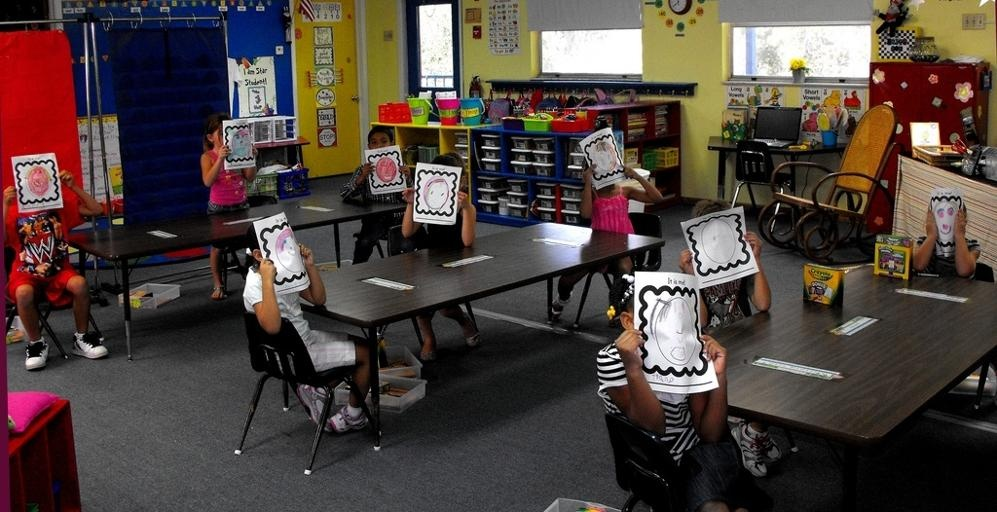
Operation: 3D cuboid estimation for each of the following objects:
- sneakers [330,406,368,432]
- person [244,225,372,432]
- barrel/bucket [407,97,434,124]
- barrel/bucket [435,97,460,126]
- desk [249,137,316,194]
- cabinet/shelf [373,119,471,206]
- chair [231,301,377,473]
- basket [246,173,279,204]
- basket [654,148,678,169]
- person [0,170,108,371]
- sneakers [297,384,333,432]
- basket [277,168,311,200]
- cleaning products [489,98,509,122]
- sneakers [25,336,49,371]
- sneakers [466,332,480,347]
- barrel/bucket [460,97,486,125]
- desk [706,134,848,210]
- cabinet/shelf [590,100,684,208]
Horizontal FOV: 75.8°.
[{"bbox_3d":[-1.217,1.331,5.122,0.327,0.198,0.175,1,12,-17],"label":"sneakers"},{"bbox_3d":[-1.461,0.624,4.988,0.884,1.730,0.690,-5,14,2],"label":"person"},{"bbox_3d":[-1.255,-2.315,10.167,0.322,0.398,0.370,-5,19,-7],"label":"barrel/bucket"},{"bbox_3d":[-0.808,-2.256,9.984,0.429,0.352,0.420,-1,6,0],"label":"barrel/bucket"},{"bbox_3d":[-3.425,-1.403,9.901,0.909,0.783,1.126,1,16,2],"label":"desk"},{"bbox_3d":[-0.911,-1.142,7.676,1.535,0.874,0.398,7,10,38],"label":"cabinet/shelf"},{"bbox_3d":[-1.502,0.989,5.097,0.853,1.126,0.965,6,6,37],"label":"chair"},{"bbox_3d":[-3.268,-0.945,8.828,0.453,0.314,0.708,4,12,15],"label":"basket"},{"bbox_3d":[2.591,-1.541,10.004,0.335,0.204,0.349,5,11,38],"label":"basket"},{"bbox_3d":[-4.304,0.099,6.201,0.813,1.724,0.945,-13,21,-29],"label":"person"},{"bbox_3d":[-1.447,1.144,4.999,0.185,0.450,0.206,-13,-12,-32],"label":"sneakers"},{"bbox_3d":[-3.267,-1.117,10.057,0.428,0.501,0.736,3,11,26],"label":"basket"},{"bbox_3d":[-0.019,-2.295,10.062,0.374,0.342,0.269,3,20,14],"label":"cleaning products"},{"bbox_3d":[-4.409,0.935,6.097,0.188,0.233,0.286,-13,22,-28],"label":"sneakers"},{"bbox_3d":[-0.262,0.841,6.324,0.110,0.124,0.143,5,-2,-40],"label":"sneakers"},{"bbox_3d":[-0.385,-2.206,9.789,0.426,0.353,0.386,0,5,5],"label":"barrel/bucket"},{"bbox_3d":[3.797,-1.527,9.348,1.713,0.843,1.377,8,19,29],"label":"desk"},{"bbox_3d":[1.786,-1.428,8.391,1.860,1.674,0.636,0,3,-42],"label":"cabinet/shelf"}]
